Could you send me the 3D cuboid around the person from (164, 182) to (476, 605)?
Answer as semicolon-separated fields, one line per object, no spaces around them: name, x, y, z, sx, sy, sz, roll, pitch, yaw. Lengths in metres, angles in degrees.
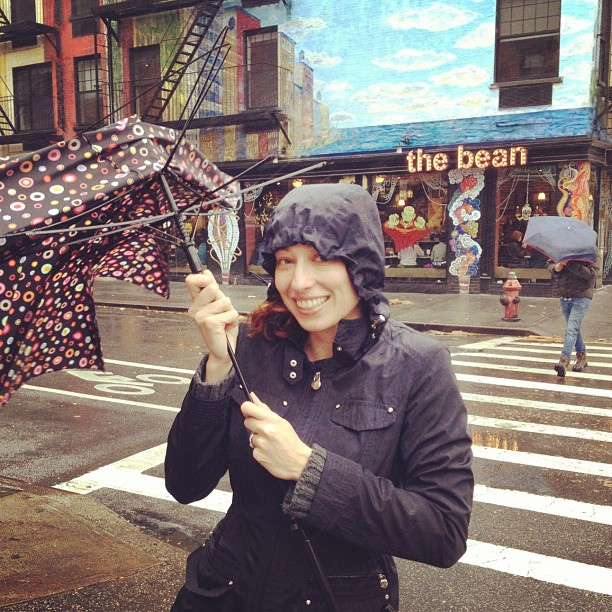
person;0.028;0.358;3.245;1.182;1.635;0.566;1;9;9

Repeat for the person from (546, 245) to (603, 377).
person;3.494;0.072;11.255;0.644;1.607;1.215;2;9;16

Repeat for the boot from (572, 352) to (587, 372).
boot;3.611;0.726;11.318;0.151;0.250;0.315;4;9;27

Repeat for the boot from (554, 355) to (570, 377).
boot;3.242;0.770;10.866;0.130;0.349;0.232;3;48;27
